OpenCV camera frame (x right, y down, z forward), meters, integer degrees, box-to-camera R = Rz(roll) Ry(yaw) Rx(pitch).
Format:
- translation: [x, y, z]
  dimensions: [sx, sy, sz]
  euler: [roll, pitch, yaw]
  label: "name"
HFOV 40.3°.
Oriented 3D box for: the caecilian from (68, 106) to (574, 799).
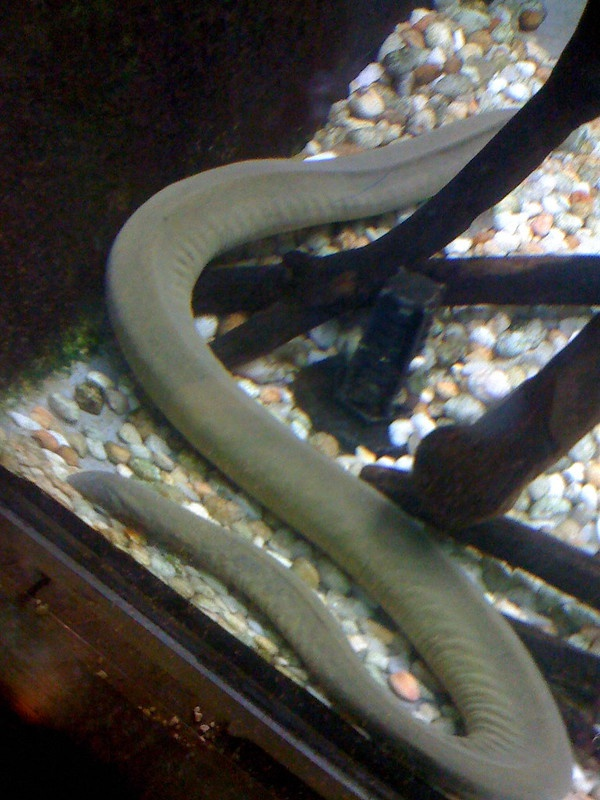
- translation: [0.080, 0.036, 1.388]
  dimensions: [1.102, 0.727, 0.196]
  euler: [56, 36, -10]
  label: "caecilian"
